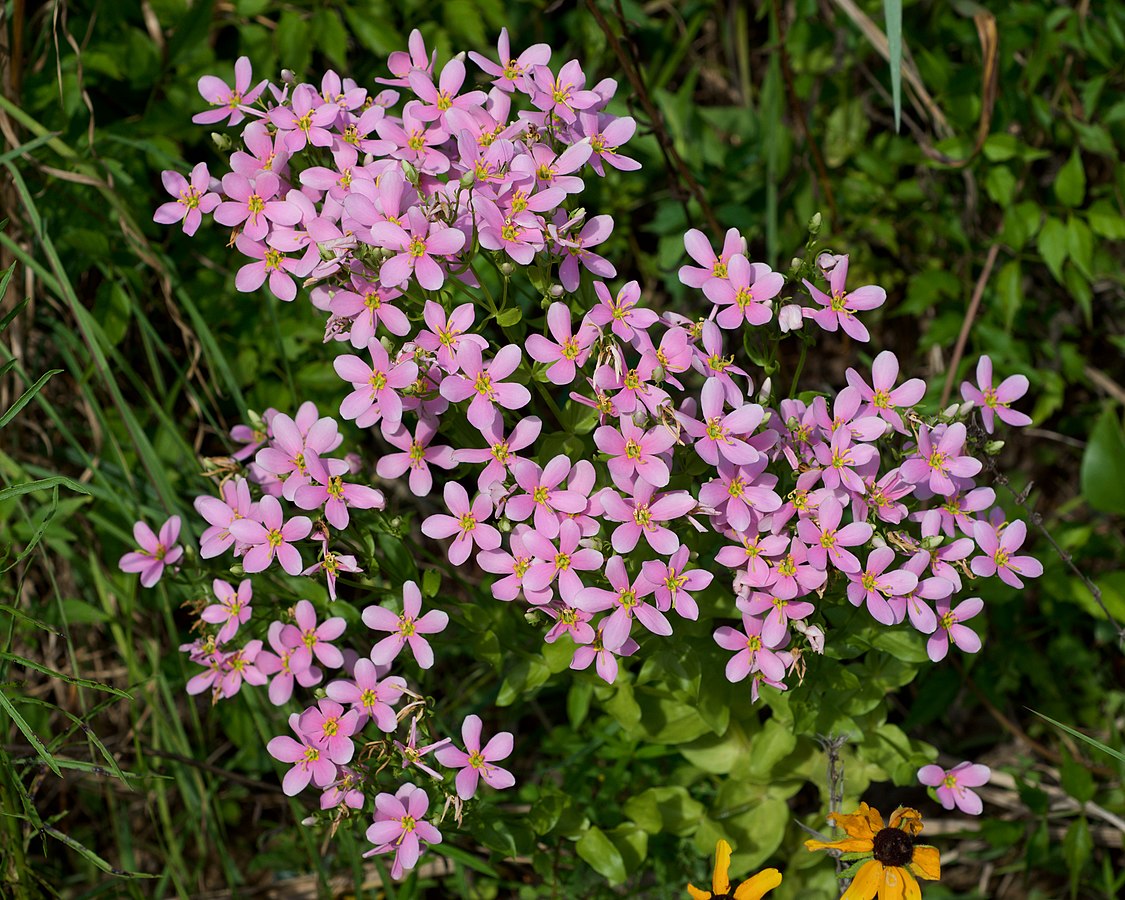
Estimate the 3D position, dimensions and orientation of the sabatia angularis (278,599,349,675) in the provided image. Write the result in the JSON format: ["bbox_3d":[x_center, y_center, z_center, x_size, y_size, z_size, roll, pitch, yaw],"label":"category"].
[{"bbox_3d":[-0.633,0.487,3.111,0.164,0.176,0.127,15,65,13],"label":"sabatia angularis"}]
